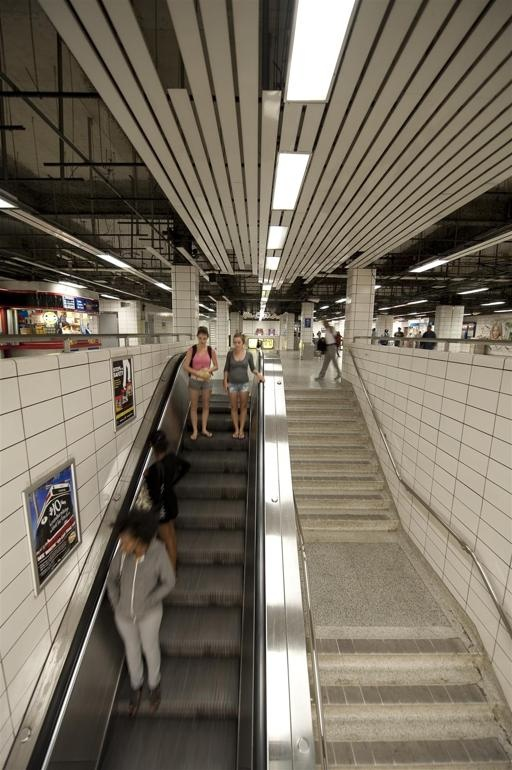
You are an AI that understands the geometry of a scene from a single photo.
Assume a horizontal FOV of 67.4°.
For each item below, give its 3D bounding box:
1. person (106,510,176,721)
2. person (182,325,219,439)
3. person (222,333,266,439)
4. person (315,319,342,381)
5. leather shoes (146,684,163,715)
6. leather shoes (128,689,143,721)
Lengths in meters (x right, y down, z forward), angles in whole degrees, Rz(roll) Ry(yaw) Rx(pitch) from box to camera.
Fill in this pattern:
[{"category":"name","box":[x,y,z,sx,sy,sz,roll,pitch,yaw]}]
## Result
[{"category":"person","box":[-0.657,1.354,2.188,0.368,1.159,0.284,-1,5,-5]},{"category":"person","box":[-0.641,0.000,4.323,0.334,1.329,0.612,0,8,-11]},{"category":"person","box":[-0.145,0.001,4.501,0.430,1.222,1.129,1,8,-4]},{"category":"person","box":[1.710,-0.873,9.340,0.667,1.456,0.459,-8,17,-3]},{"category":"leather shoes","box":[-0.604,1.935,2.297,0.053,0.072,0.177,1,-1,-5]},{"category":"leather shoes","box":[-0.710,1.942,2.288,0.055,0.186,0.073,6,-18,0]}]
